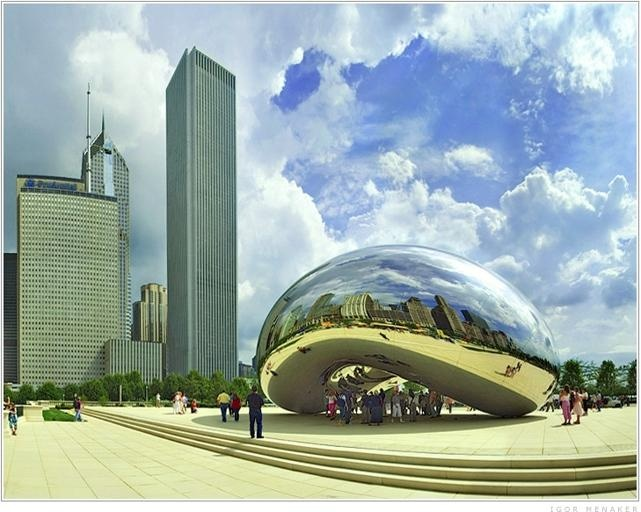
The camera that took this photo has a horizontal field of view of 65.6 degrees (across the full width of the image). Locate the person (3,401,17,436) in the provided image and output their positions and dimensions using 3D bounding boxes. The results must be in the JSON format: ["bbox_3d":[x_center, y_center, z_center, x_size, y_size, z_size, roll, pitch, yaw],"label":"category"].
[{"bbox_3d":[-12.622,6.667,20.304,0.464,1.332,1.338,6,-13,-31],"label":"person"}]

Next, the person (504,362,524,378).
[{"bbox_3d":[6.798,4.029,17.510,0.765,0.520,0.246,6,-12,-26],"label":"person"}]

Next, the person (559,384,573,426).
[{"bbox_3d":[8.330,5.068,16.838,0.287,1.255,1.087,-5,-12,26],"label":"person"}]
